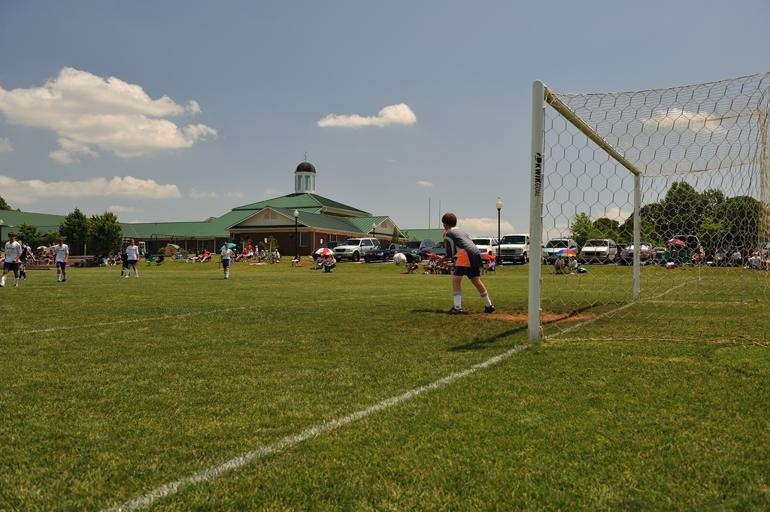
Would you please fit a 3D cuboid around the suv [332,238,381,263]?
[{"bbox_3d":[-1.943,-0.505,47.428,1.662,1.210,3.046,-3,-3,33],"label":"suv"}]

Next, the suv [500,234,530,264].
[{"bbox_3d":[7.128,-0.349,36.403,1.557,1.339,2.953,-2,-4,22],"label":"suv"}]

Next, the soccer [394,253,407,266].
[{"bbox_3d":[0.782,0.241,35.052,0.610,0.674,0.510,-2,11,13],"label":"soccer"}]

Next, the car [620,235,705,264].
[{"bbox_3d":[8.317,-0.207,19.680,2.315,0.752,1.000,1,0,8],"label":"car"}]
